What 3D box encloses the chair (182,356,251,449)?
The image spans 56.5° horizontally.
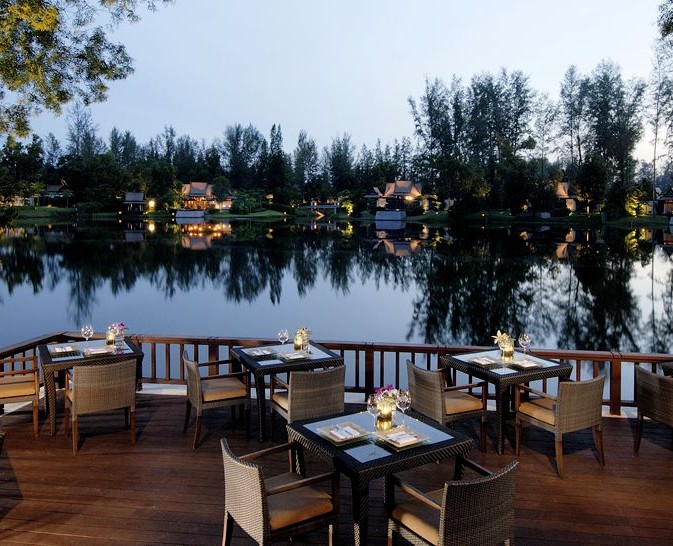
[{"bbox_3d":[-1.401,1.373,7.327,0.762,0.935,0.956,-2,7,-16],"label":"chair"}]

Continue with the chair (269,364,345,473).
[{"bbox_3d":[-0.415,1.389,6.887,0.583,1.135,0.782,-2,5,-26],"label":"chair"}]

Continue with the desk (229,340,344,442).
[{"bbox_3d":[-0.622,1.183,7.315,0.906,0.921,1.040,-1,4,-20],"label":"desk"}]

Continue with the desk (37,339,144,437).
[{"bbox_3d":[-3.022,1.172,7.476,1.002,0.972,1.057,-2,3,-31],"label":"desk"}]

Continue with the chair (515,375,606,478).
[{"bbox_3d":[2.340,1.477,6.621,0.684,1.031,0.796,-4,8,-15],"label":"chair"}]

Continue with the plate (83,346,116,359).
[{"bbox_3d":[-2.744,0.906,7.317,0.354,0.067,0.316,-3,9,-26],"label":"plate"}]

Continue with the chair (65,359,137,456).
[{"bbox_3d":[-2.651,1.383,7.043,0.751,1.384,0.906,0,3,-28],"label":"chair"}]

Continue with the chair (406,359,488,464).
[{"bbox_3d":[1.144,1.408,7.157,0.750,1.296,0.906,-2,3,-21],"label":"chair"}]

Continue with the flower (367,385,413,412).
[{"bbox_3d":[0.449,1.077,5.486,0.282,0.149,0.253,0,-3,44],"label":"flower"}]
